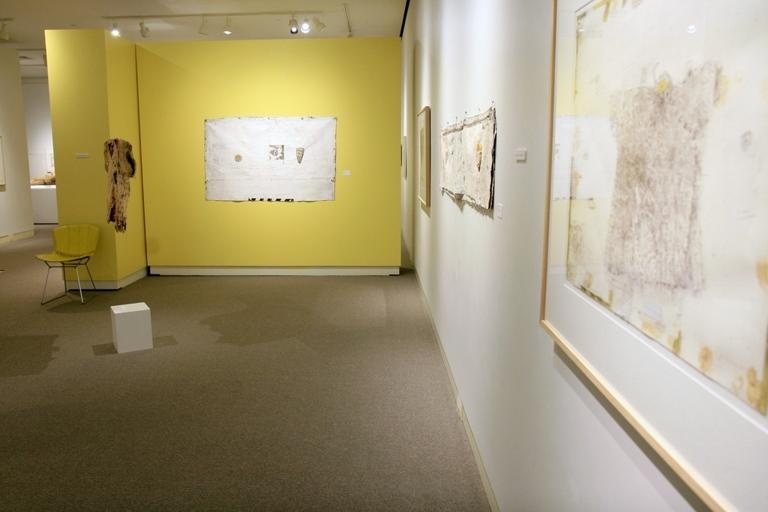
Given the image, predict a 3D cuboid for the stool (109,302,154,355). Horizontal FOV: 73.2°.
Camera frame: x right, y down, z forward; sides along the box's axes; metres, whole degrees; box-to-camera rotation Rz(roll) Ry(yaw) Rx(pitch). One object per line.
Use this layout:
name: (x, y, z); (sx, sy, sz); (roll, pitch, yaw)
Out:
stool: (-2.610, 0.704, 5.291); (0.410, 0.456, 0.424); (2, 7, -31)
